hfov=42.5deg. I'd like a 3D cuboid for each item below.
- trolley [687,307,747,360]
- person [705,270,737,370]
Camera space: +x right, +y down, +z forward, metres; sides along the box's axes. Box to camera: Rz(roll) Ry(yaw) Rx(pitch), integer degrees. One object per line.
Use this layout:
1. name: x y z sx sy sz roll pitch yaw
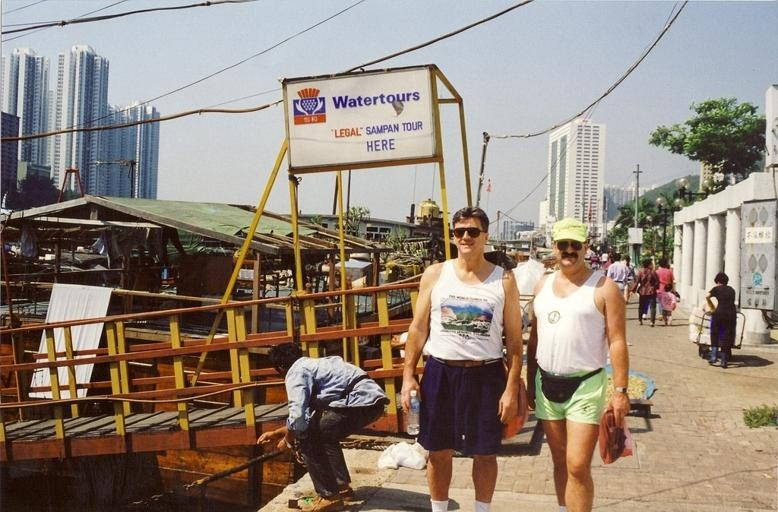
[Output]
1. trolley: 8.318 1.835 24.680 1.073 1.336 1.658 0 -4 3
2. person: 7.916 1.525 23.892 0.656 2.259 0.842 0 -5 17
